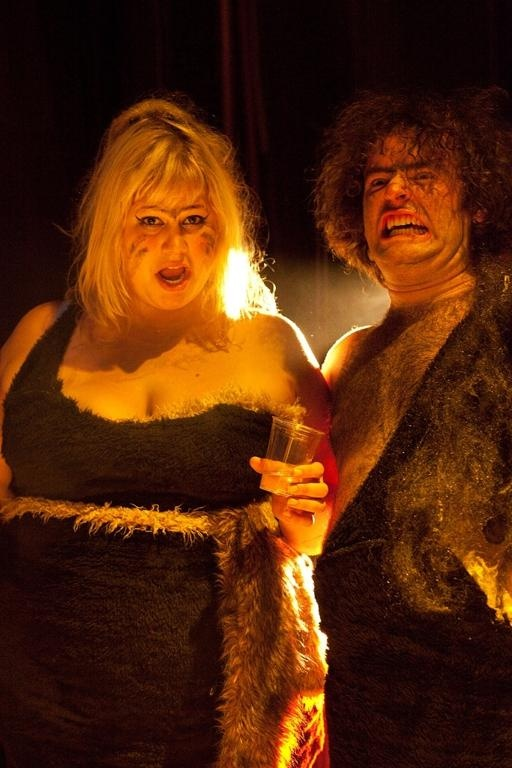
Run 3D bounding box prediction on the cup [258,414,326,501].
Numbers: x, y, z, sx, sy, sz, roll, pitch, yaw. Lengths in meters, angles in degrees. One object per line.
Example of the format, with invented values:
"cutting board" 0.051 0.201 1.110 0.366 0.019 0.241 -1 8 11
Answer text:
"cup" 0.065 0.169 1.901 0.124 0.168 0.195 10 -29 -28
